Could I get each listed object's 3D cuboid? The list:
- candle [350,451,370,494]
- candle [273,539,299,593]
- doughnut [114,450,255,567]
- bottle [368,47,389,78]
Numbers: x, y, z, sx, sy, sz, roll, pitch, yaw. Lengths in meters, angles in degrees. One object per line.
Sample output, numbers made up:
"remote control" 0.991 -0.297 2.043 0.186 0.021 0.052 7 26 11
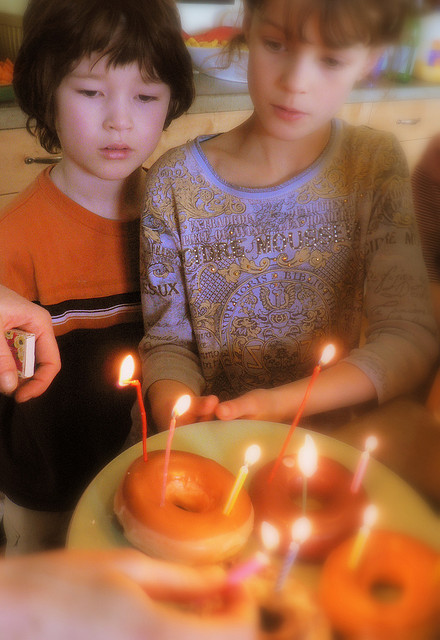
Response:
"candle" 0.159 0.175 0.604 0.012 0.011 0.064 18 46 21
"candle" 0.059 0.221 0.475 0.012 0.078 0.011 26 40 23
"doughnut" -0.038 0.203 0.586 0.150 0.051 0.132 7 33 10
"bottle" 0.242 -0.388 0.814 0.023 0.052 0.111 7 33 10
